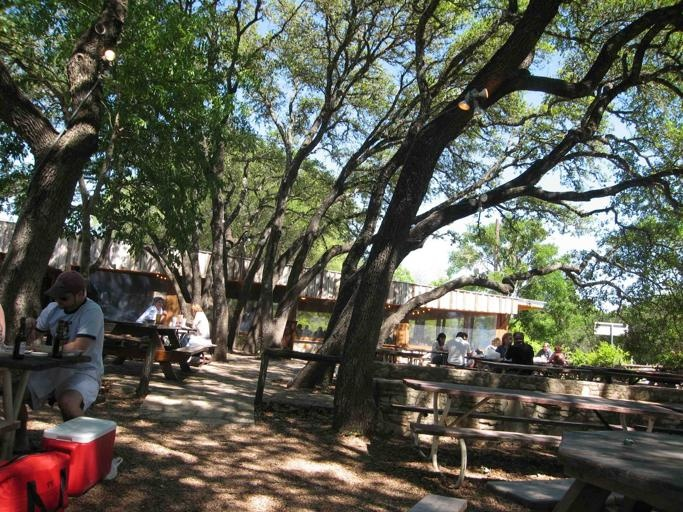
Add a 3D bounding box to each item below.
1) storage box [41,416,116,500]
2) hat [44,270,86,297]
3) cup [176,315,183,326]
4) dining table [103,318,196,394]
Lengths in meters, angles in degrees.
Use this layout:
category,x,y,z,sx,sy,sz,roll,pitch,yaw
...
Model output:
category,x,y,z,sx,sy,sz,roll,pitch,yaw
storage box,-2.541,1.928,4.999,0.432,0.530,0.782,5,-4,-1
hat,-2.975,0.319,5.544,0.244,0.197,0.364,23,20,23
cup,-4.170,1.674,13.069,0.175,0.228,0.221,3,-28,-11
dining table,-3.858,1.833,10.085,1.472,0.734,1.485,10,-4,-36
